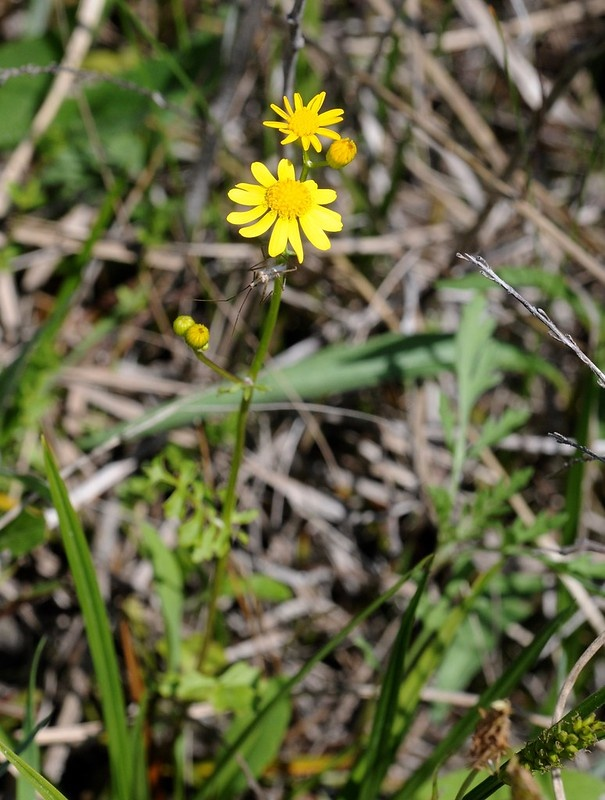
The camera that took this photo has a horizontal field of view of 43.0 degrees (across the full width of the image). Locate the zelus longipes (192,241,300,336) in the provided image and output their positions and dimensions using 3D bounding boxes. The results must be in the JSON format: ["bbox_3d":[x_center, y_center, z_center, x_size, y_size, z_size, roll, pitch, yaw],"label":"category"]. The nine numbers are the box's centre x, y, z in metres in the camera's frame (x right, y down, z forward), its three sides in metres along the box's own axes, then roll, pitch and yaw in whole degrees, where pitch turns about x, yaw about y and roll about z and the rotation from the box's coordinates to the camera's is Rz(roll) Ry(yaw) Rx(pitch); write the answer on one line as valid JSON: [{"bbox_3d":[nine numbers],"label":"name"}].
[{"bbox_3d":[-0.166,-0.302,2.137,0.197,0.085,0.356,23,54,32],"label":"zelus longipes"}]

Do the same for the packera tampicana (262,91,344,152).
[{"bbox_3d":[0.001,-0.503,1.386,0.140,0.137,0.033,16,74,-33],"label":"packera tampicana"}]

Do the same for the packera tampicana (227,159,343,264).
[{"bbox_3d":[-0.039,-0.331,1.359,0.188,0.095,0.200,26,61,12],"label":"packera tampicana"}]
